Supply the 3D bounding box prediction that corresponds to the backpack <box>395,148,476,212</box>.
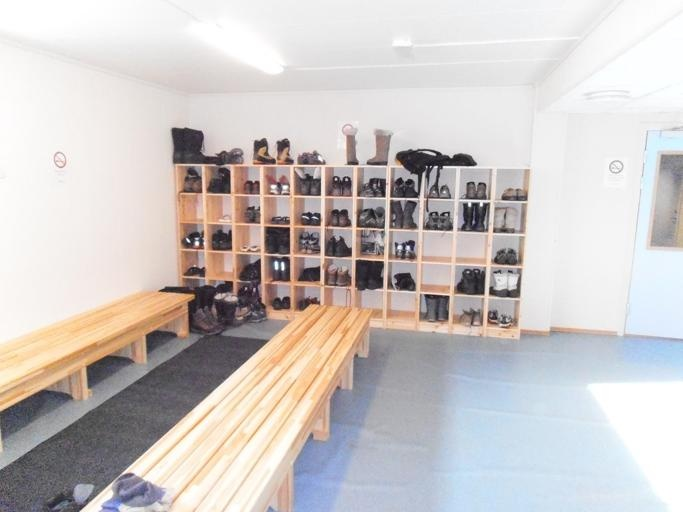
[{"bbox_3d":[1.129,-1.031,5.945,0.933,0.531,0.423,1,8,6],"label":"backpack"}]
